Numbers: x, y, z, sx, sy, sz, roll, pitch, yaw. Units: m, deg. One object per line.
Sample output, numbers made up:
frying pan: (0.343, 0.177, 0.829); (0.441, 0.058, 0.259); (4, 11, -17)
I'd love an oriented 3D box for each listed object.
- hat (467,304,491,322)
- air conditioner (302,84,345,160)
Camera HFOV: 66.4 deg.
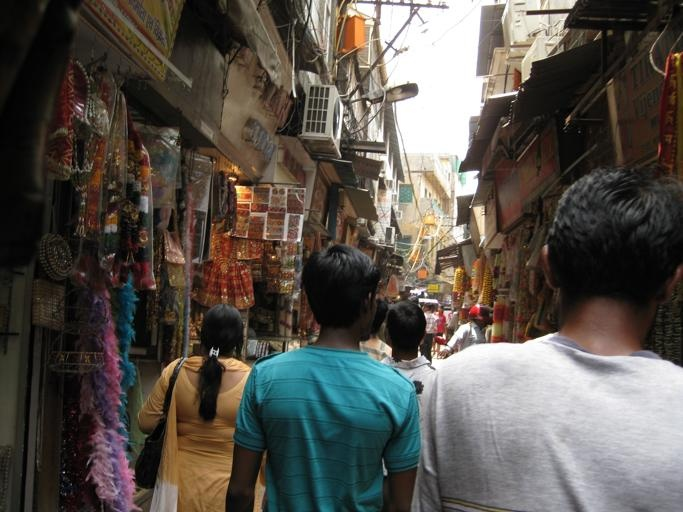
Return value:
hat: (2.162, 0.870, 8.228); (0.334, 0.297, 0.526); (6, 4, 23)
air conditioner: (-0.345, -2.428, 8.819); (0.515, 1.243, 1.025); (1, -7, 9)
